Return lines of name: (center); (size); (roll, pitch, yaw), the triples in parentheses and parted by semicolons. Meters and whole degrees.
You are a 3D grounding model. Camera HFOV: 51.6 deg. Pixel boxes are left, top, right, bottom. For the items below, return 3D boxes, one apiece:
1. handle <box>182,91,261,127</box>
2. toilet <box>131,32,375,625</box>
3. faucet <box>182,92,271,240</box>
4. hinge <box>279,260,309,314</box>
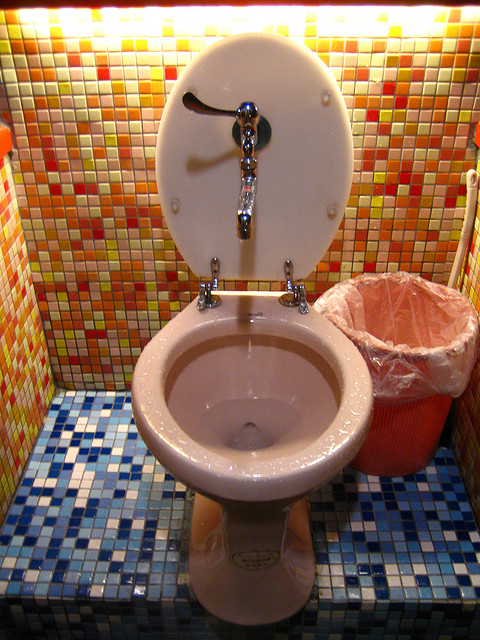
handle: (-0.025, -0.309, 0.724); (0.101, 0.046, 0.033); (13, 19, 7)
toilet: (0.016, 0.048, 0.747); (0.263, 0.837, 0.500); (-1, 28, 0)
faucet: (-0.008, -0.232, 0.694); (0.095, 0.268, 0.083); (1, 8, -1)
hinge: (0.099, -0.059, 0.871); (0.043, 0.077, 0.055); (-10, 21, -43)
